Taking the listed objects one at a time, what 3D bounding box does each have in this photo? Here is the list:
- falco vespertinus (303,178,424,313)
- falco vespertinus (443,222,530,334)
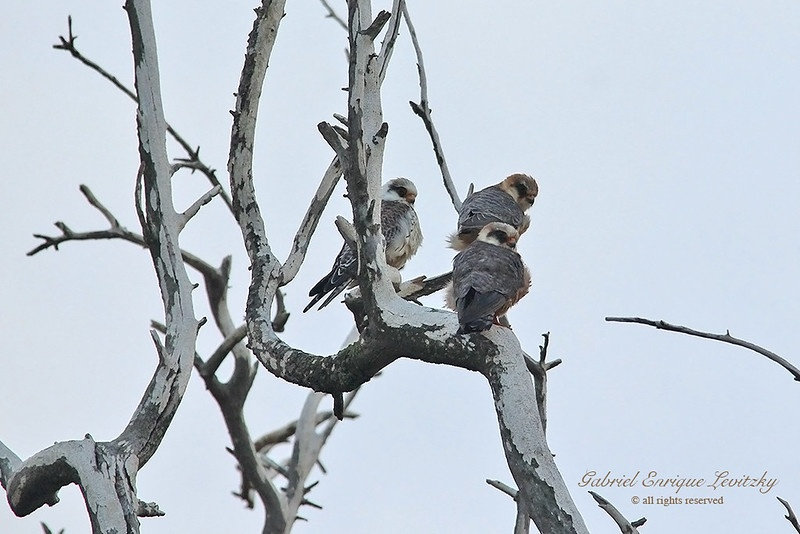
[{"bbox_3d":[-0.392,-0.210,13.422,1.274,1.424,0.773,-3,-16,-21],"label":"falco vespertinus"},{"bbox_3d":[0.658,0.069,10.957,0.562,0.956,0.956,-1,-95,20],"label":"falco vespertinus"}]
